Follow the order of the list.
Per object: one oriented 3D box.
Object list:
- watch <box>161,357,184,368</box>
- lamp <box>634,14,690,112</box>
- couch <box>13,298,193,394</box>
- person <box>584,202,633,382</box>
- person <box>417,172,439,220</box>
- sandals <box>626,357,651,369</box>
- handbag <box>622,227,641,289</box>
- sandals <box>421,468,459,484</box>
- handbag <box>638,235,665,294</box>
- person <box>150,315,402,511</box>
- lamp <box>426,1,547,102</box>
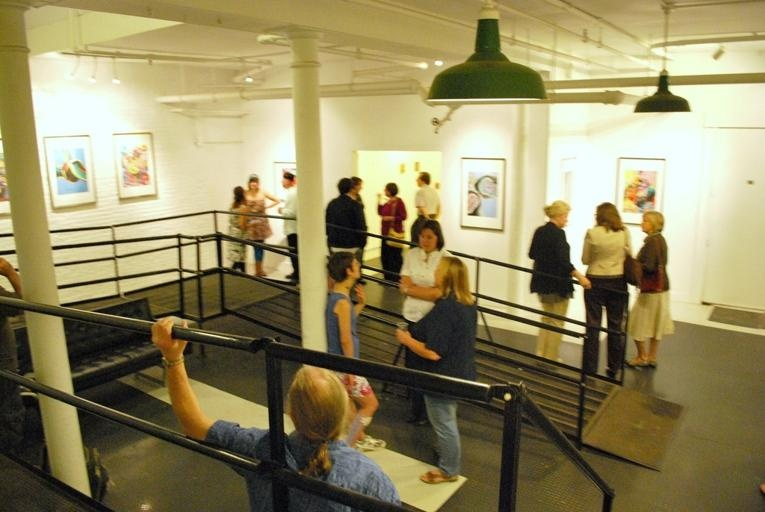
[{"bbox_3d":[-1.099,0.562,2.829,0.077,0.028,0.073,-2,7,-39],"label":"watch"},{"bbox_3d":[3.659,-2.401,6.977,0.584,1.180,2.490,7,14,26],"label":"lamp"},{"bbox_3d":[-2.676,0.896,5.148,0.621,0.548,1.368,11,16,40],"label":"couch"},{"bbox_3d":[2.792,0.472,6.859,0.582,2.216,0.821,5,15,18],"label":"person"},{"bbox_3d":[0.809,-1.032,9.531,0.459,0.818,0.883,1,13,4],"label":"person"},{"bbox_3d":[3.581,1.478,7.568,0.266,0.094,0.145,5,7,16],"label":"sandals"},{"bbox_3d":[3.179,0.048,6.932,0.230,0.754,0.392,7,15,24],"label":"handbag"},{"bbox_3d":[0.319,1.218,3.053,0.219,0.078,0.080,3,11,2],"label":"sandals"},{"bbox_3d":[3.526,0.129,7.096,0.406,0.717,0.638,5,19,24],"label":"handbag"},{"bbox_3d":[-0.529,0.821,2.697,1.237,0.972,0.277,5,15,20],"label":"person"},{"bbox_3d":[0.622,-1.183,3.385,0.713,0.474,0.655,-9,15,-30],"label":"lamp"}]
